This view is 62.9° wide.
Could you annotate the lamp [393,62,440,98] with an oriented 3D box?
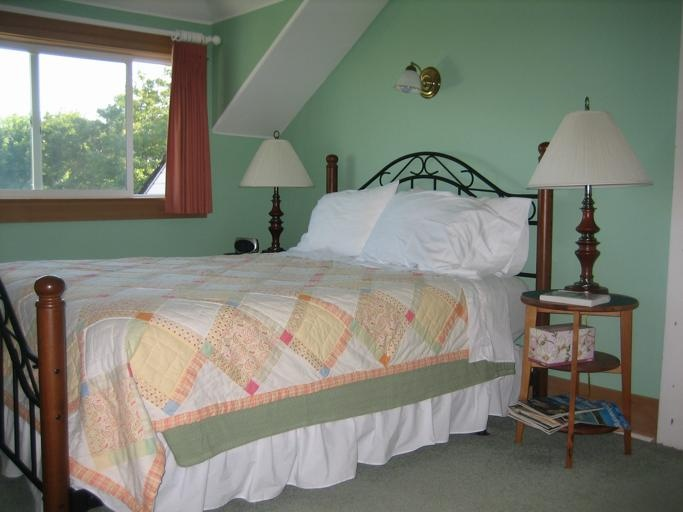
[{"bbox_3d":[0.498,-1.139,3.626,0.263,0.239,0.209,6,-6,-43],"label":"lamp"}]
